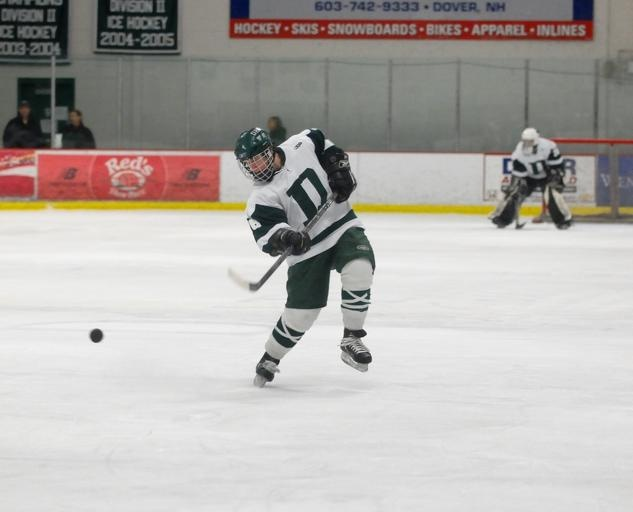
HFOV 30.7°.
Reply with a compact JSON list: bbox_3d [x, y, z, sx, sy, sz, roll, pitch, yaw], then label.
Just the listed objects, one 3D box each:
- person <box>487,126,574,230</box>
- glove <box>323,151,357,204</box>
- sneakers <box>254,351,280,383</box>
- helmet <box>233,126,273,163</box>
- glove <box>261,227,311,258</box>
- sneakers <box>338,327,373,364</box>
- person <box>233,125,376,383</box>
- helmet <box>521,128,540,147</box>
[{"bbox_3d":[2.118,-0.749,11.288,0.802,0.970,0.402,0,9,-4],"label":"person"},{"bbox_3d":[0.115,-0.344,5.006,0.144,0.227,0.092,-28,-18,13],"label":"glove"},{"bbox_3d":[-0.199,0.468,4.804,0.100,0.116,0.284,2,-8,-6],"label":"sneakers"},{"bbox_3d":[-0.263,-0.473,4.839,0.162,0.134,0.124,-15,-9,-44],"label":"helmet"},{"bbox_3d":[-0.129,-0.052,4.667,0.149,0.052,0.111,-10,2,21],"label":"glove"},{"bbox_3d":[0.149,0.386,4.894,0.102,0.123,0.176,-1,-6,-22],"label":"sneakers"},{"bbox_3d":[-0.037,-0.008,4.887,0.597,1.053,0.454,-1,9,-9],"label":"person"},{"bbox_3d":[2.101,-1.148,11.279,0.155,0.186,0.244,2,9,10],"label":"helmet"}]
